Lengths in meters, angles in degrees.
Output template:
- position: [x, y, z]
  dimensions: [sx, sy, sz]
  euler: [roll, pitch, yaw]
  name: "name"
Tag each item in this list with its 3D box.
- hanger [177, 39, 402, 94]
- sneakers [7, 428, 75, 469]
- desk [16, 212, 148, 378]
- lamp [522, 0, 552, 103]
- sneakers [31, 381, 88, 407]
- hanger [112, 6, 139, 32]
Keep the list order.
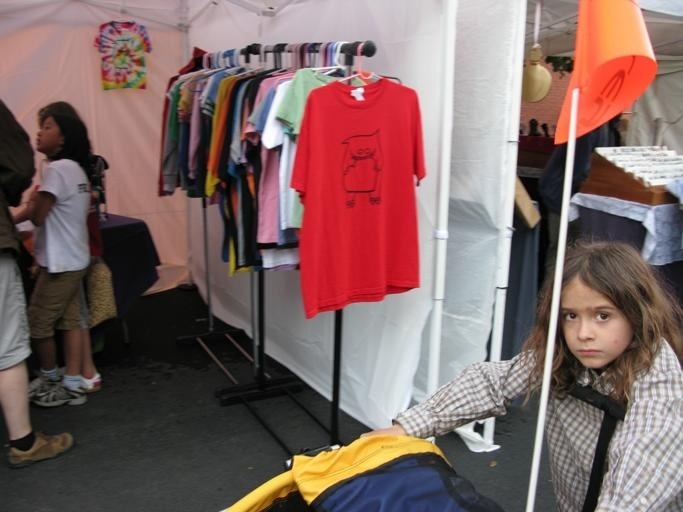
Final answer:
- position: [-0.251, -0.976, 2.677]
  dimensions: [0.626, 0.236, 0.902]
  euler: [-20, 30, -40]
  name: "hanger"
- position: [-1.552, 0.994, 2.773]
  dimensions: [0.144, 0.141, 0.347]
  euler: [12, 16, 44]
  name: "sneakers"
- position: [-1.711, 0.213, 3.734]
  dimensions: [1.009, 0.862, 0.971]
  euler: [-3, 10, -35]
  name: "desk"
- position: [1.581, -1.615, 4.190]
  dimensions: [0.201, 0.730, 1.612]
  euler: [2, 20, 20]
  name: "lamp"
- position: [-1.731, 0.845, 3.238]
  dimensions: [0.328, 0.137, 0.122]
  euler: [6, 25, -22]
  name: "sneakers"
- position: [-1.815, -2.009, 4.390]
  dimensions: [0.238, 0.198, 0.045]
  euler: [-19, 25, -36]
  name: "hanger"
